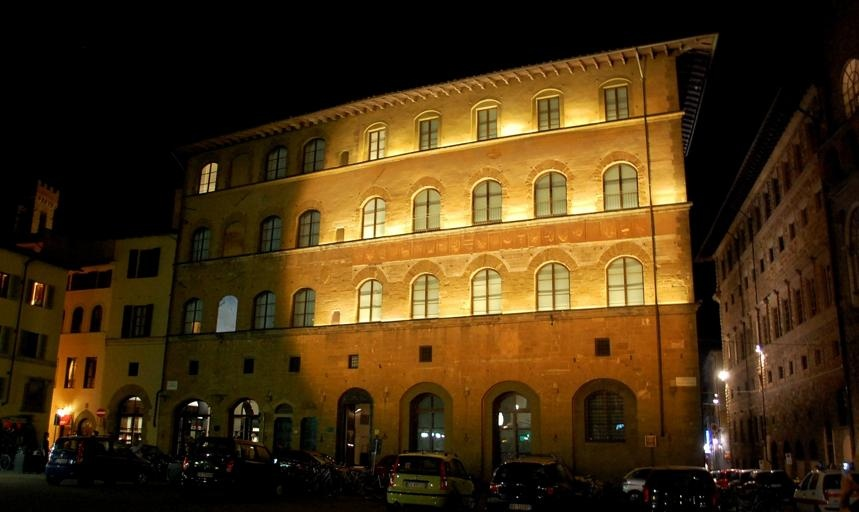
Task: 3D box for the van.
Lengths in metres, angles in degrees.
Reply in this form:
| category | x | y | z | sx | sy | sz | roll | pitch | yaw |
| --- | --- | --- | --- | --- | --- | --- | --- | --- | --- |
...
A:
| category | x | y | z | sx | sy | sz | roll | pitch | yaw |
| --- | --- | --- | --- | --- | --- | --- | --- | --- | --- |
| van | -10.620 | 11.033 | 41.272 | 4.185 | 2.652 | 1.251 | 13 | -24 | -27 |

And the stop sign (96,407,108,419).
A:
| category | x | y | z | sx | sy | sz | roll | pitch | yaw |
| --- | --- | --- | --- | --- | --- | --- | --- | --- | --- |
| stop sign | -25.080 | 12.000 | 59.942 | 0.974 | 0.719 | 0.254 | -10 | -25 | 27 |

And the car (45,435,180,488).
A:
| category | x | y | z | sx | sy | sz | roll | pitch | yaw |
| --- | --- | --- | --- | --- | --- | --- | --- | --- | --- |
| car | -18.897 | 11.776 | 45.621 | 3.466 | 2.223 | 5.249 | -17 | -23 | 35 |

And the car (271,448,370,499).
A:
| category | x | y | z | sx | sy | sz | roll | pitch | yaw |
| --- | --- | --- | --- | --- | --- | --- | --- | --- | --- |
| car | -6.684 | 12.707 | 45.968 | 4.855 | 1.418 | 2.950 | -5 | -20 | 20 |
